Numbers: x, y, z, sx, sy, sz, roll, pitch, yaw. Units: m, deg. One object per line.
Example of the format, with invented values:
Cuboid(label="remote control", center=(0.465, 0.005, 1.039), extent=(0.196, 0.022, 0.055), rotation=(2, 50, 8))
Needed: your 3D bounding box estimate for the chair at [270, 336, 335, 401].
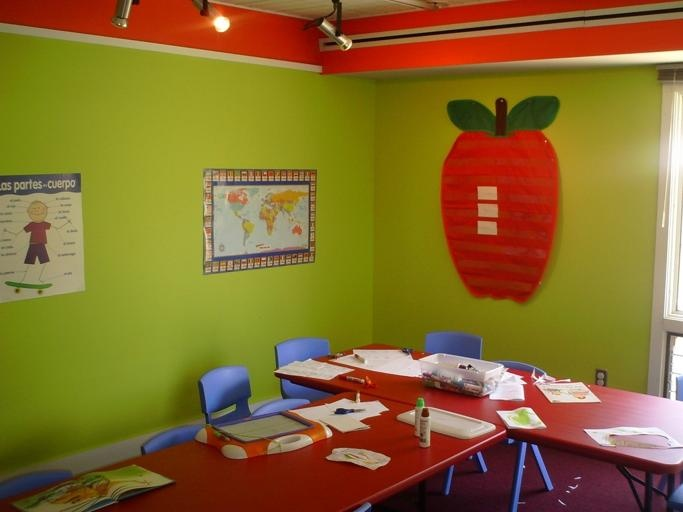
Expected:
Cuboid(label="chair", center=(-0.362, 0.884, 4.458), extent=(0.557, 0.570, 0.461), rotation=(0, -1, -40))
